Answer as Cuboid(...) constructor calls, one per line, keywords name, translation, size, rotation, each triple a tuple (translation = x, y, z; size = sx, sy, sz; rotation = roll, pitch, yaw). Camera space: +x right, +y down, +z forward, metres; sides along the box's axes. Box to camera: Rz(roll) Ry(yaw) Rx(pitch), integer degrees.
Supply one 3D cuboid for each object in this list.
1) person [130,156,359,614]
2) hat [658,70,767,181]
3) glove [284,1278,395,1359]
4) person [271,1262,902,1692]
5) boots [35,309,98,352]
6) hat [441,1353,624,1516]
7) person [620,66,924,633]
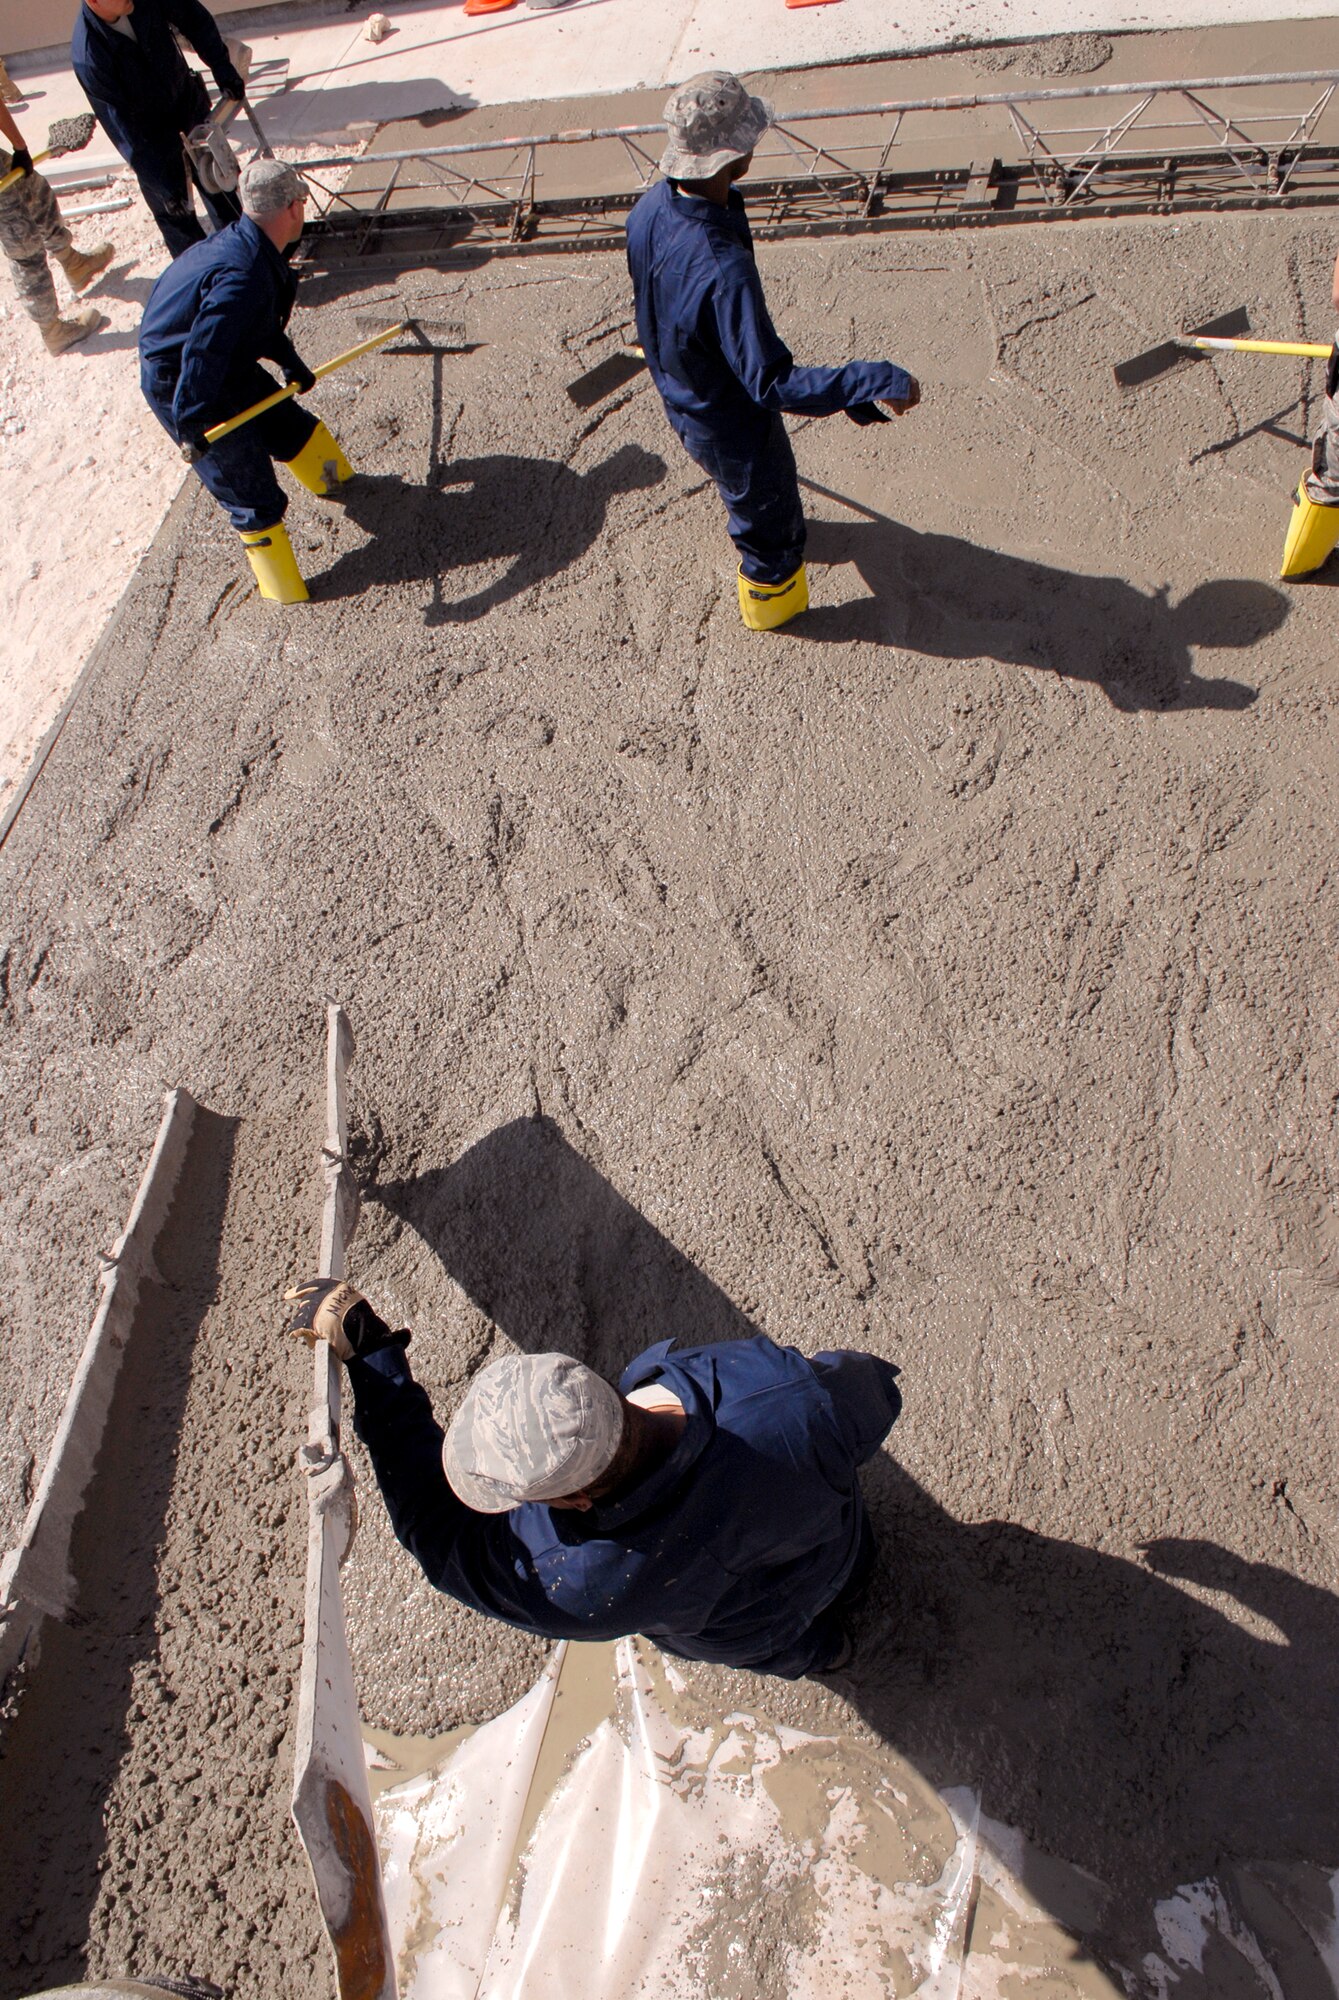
Cuboid(name="person", translation=(-1.352, -1.877, 4.967), size=(0.513, 1.252, 0.749), rotation=(21, 54, 15))
Cuboid(name="hat", translation=(0.090, -1.983, 3.688), size=(0.269, 0.173, 0.241), rotation=(-14, 47, 9))
Cuboid(name="glove", translation=(-0.599, 0.572, 2.890), size=(0.199, 0.081, 0.115), rotation=(19, 61, -2))
Cuboid(name="person", translation=(-0.083, 0.888, 2.892), size=(0.917, 1.397, 0.608), rotation=(-7, 64, 0))
Cuboid(name="boots", translation=(-2.547, -2.825, 6.852), size=(0.197, 0.072, 0.153), rotation=(-24, 11, -10))
Cuboid(name="hat", translation=(-0.177, 0.590, 2.319), size=(0.299, 0.150, 0.230), rotation=(-13, 25, 11))
Cuboid(name="person", translation=(0.264, -1.466, 4.028), size=(0.357, 1.411, 0.683), rotation=(-32, 47, -8))
